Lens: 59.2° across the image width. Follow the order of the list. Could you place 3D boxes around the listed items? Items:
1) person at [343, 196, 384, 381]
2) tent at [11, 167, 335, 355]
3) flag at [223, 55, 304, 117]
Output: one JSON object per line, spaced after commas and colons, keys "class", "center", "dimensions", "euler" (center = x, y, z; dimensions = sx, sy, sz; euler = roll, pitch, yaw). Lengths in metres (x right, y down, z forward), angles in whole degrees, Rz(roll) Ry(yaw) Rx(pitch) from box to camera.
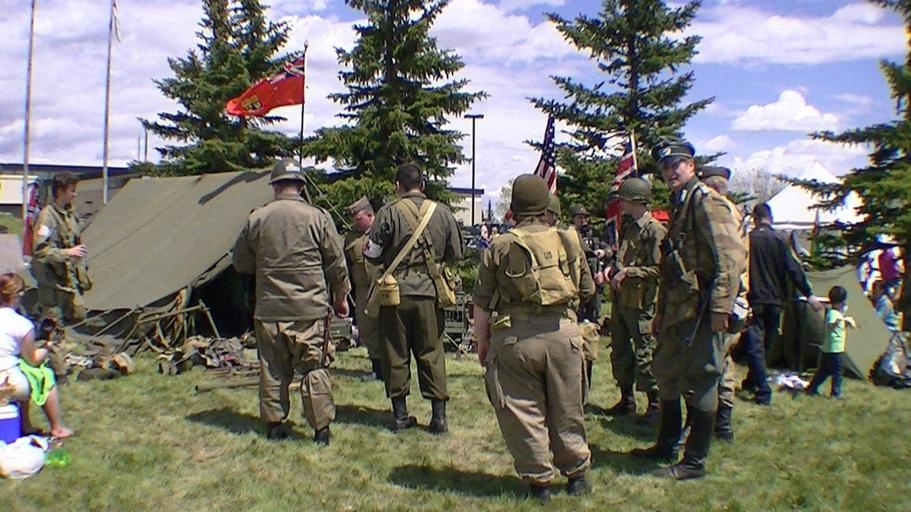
{"class": "person", "center": [-1.568, 0.551, 14.883], "dimensions": [0.920, 3.209, 0.826], "euler": [2, 0, -19]}
{"class": "tent", "center": [-6.290, -0.177, 16.580], "dimensions": [4.310, 2.189, 4.421], "euler": [-4, 8, 31]}
{"class": "flag", "center": [-4.370, -4.027, 18.818], "dimensions": [1.630, 1.385, 0.656], "euler": [-1, 0, 7]}
